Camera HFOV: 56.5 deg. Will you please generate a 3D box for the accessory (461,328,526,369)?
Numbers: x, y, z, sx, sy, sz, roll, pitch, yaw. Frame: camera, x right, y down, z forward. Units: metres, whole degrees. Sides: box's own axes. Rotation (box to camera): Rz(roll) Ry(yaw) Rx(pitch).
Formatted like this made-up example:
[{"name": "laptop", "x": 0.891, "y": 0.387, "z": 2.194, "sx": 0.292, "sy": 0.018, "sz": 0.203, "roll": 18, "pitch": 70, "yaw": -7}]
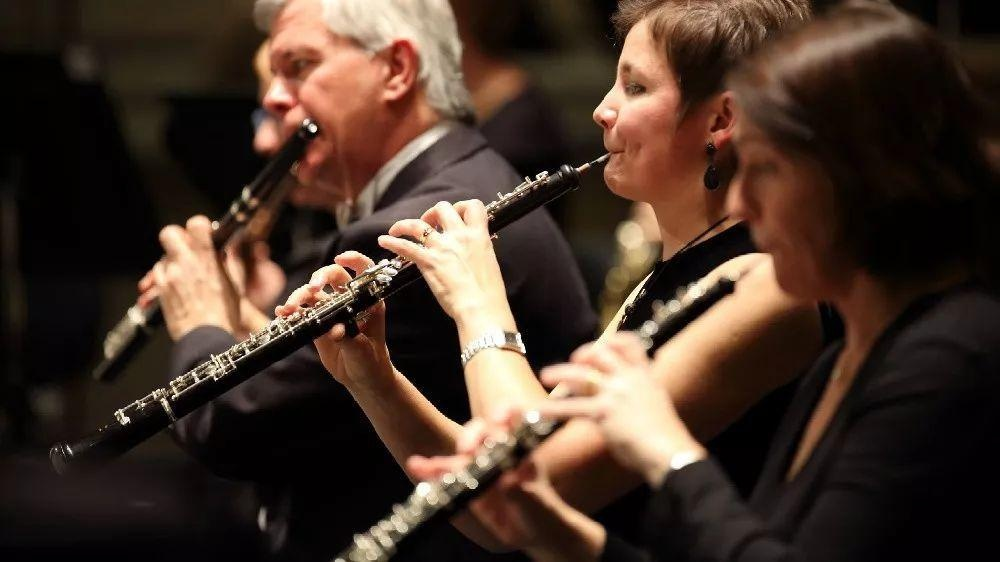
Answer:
[{"name": "accessory", "x": -0.022, "y": 0.181, "z": 2.630, "sx": 0.162, "sy": 0.155, "sz": 0.086, "roll": 21, "pitch": 67, "yaw": -21}]
